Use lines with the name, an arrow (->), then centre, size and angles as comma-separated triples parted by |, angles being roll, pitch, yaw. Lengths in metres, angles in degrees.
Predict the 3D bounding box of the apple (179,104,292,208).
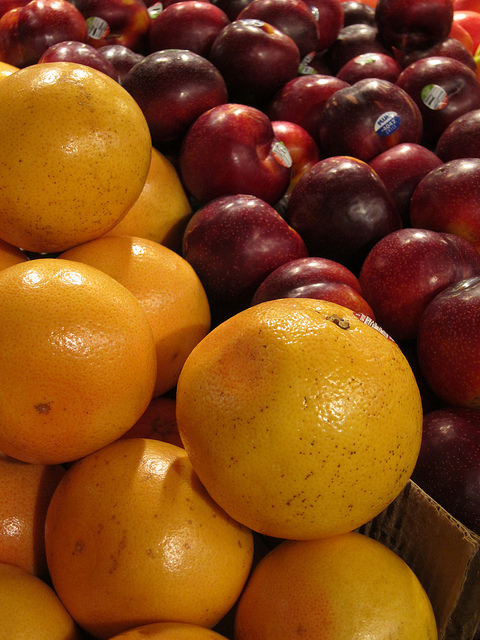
apple -> -0.013, -0.297, 1.161 | 0.186, 0.190, 0.191 | 19, 31, -2

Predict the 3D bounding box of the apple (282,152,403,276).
apple -> 0.172, -0.180, 1.119 | 0.216, 0.209, 0.213 | 0, 74, 32

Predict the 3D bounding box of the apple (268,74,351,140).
apple -> 0.157, -0.466, 1.387 | 0.182, 0.153, 0.153 | 8, 67, 1

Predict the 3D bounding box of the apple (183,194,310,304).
apple -> -0.003, -0.128, 1.006 | 0.172, 0.115, 0.182 | -26, 54, -23
